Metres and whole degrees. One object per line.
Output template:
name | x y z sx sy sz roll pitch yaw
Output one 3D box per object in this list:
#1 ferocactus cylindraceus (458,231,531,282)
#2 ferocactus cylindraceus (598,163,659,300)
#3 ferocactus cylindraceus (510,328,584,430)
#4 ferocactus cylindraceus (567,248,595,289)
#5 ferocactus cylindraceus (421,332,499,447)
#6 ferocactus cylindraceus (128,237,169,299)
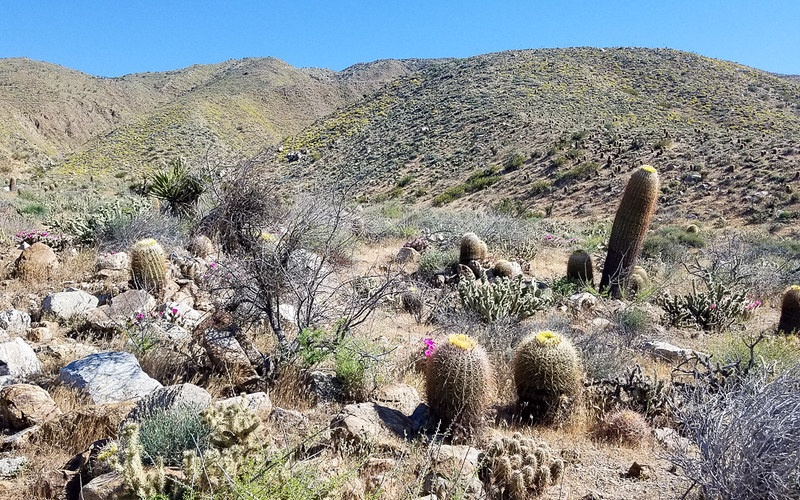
ferocactus cylindraceus | 1.987 0.114 14.844 1.257 0.617 0.985 8 2 -10
ferocactus cylindraceus | 4.694 -0.365 14.186 0.978 2.743 0.471 5 9 19
ferocactus cylindraceus | 2.263 1.978 10.965 1.142 1.264 1.220 0 -3 -1
ferocactus cylindraceus | 3.864 0.391 15.010 0.716 1.079 0.654 -1 0 -17
ferocactus cylindraceus | 0.891 2.021 10.462 1.206 1.498 1.292 -1 -3 6
ferocactus cylindraceus | -4.653 0.315 12.628 0.648 0.970 0.519 0 9 -9
